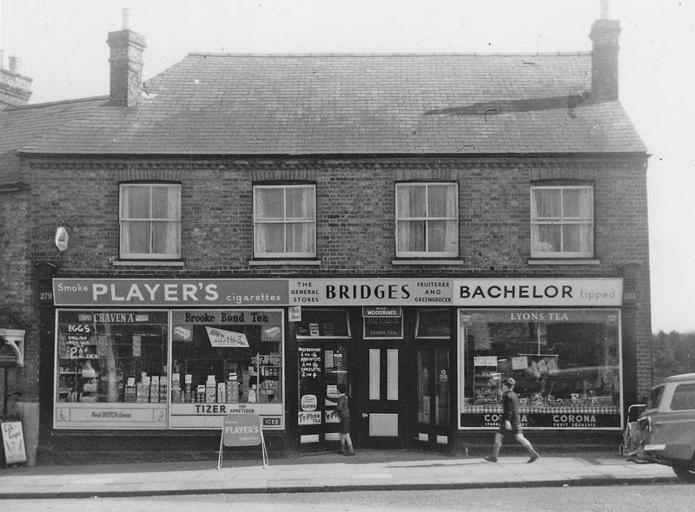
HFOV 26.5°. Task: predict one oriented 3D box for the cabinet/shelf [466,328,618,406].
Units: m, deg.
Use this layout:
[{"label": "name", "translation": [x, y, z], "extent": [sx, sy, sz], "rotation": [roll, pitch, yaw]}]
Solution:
[{"label": "cabinet/shelf", "translation": [5.337, 3.115, 41.698], "extent": [3.809, 2.174, 1.518], "rotation": [0, -4, 3]}]
